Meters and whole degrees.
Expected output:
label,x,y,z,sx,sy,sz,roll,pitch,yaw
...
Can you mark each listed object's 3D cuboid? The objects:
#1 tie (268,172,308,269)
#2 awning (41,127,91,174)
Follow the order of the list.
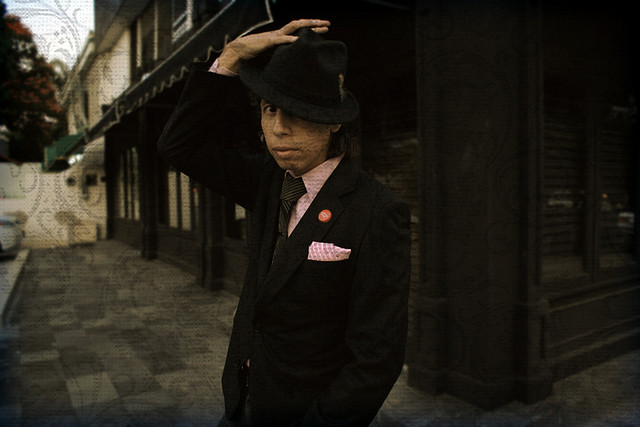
label,x,y,z,sx,sy,sz,roll,pitch,yaw
tie,-0.155,0.050,3.590,0.173,0.531,0.149,10,1,24
awning,-1.869,-0.464,4.439,0.091,0.331,0.345,42,43,18
